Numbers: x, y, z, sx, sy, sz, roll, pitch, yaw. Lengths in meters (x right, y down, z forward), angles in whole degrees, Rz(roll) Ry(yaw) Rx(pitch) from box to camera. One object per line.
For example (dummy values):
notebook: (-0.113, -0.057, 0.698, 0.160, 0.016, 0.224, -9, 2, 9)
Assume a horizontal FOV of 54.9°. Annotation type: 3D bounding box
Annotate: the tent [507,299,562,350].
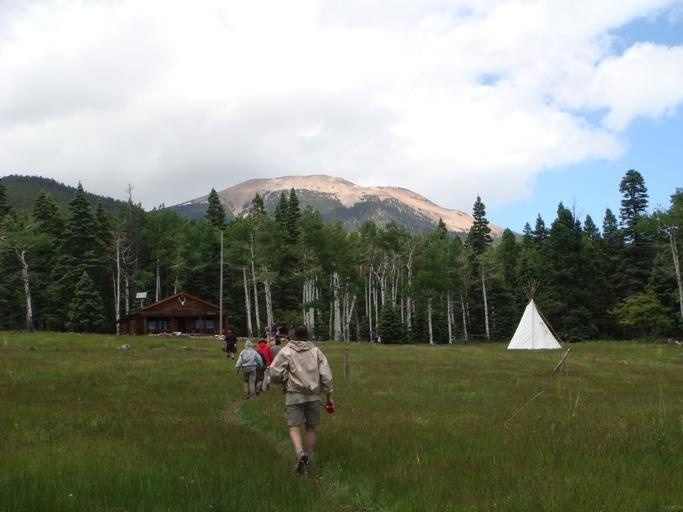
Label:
tent: (17.474, 6.446, 59.572, 4.049, 5.451, 5.257, -5, -9, 26)
